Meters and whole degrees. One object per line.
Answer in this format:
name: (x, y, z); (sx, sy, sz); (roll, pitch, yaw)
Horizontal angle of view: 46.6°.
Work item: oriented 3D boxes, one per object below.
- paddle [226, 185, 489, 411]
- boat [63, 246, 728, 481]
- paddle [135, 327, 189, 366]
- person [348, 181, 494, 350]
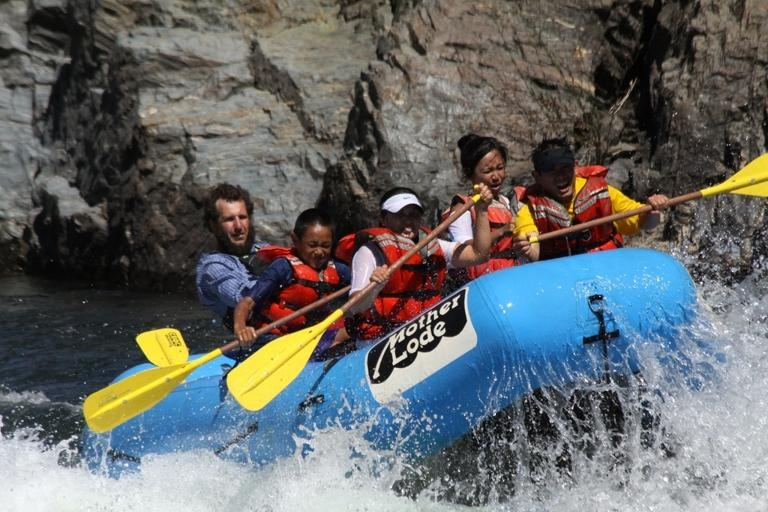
paddle: (-0.191, 0.422, 7.592); (3.258, 0.478, 0.287); (-36, -19, -16)
boat: (0.250, 0.982, 7.389); (4.319, 0.990, 2.145); (-26, -7, 17)
paddle: (-1.901, 0.806, 7.747); (0.382, 0.099, 0.413); (-19, 54, -18)
person: (0.346, 0.122, 7.656); (1.091, 2.032, 0.692); (-19, 40, -35)
